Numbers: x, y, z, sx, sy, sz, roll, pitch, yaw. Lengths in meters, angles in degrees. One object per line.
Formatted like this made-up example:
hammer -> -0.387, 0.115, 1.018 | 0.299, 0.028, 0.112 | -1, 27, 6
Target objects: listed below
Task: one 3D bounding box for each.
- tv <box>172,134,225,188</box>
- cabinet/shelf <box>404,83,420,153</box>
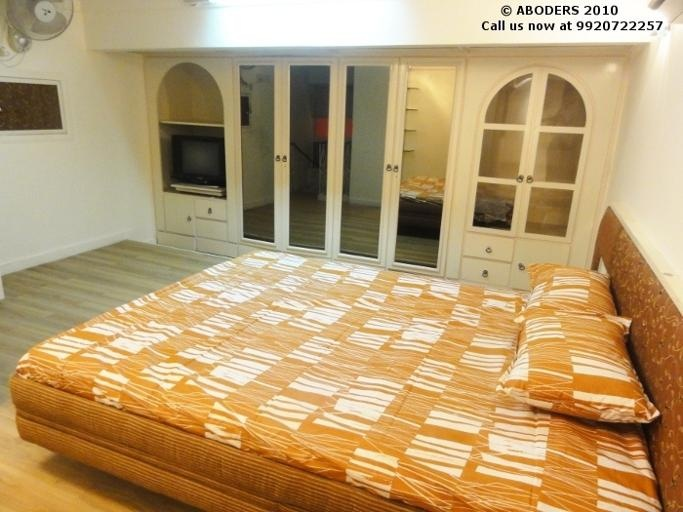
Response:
tv -> -1.686, -1.129, 5.262 | 0.636, 0.469, 0.342 | 9, 22, 16
cabinet/shelf -> 0.667, -1.310, 4.261 | 0.162, 0.618, 0.078 | 8, 21, 11
